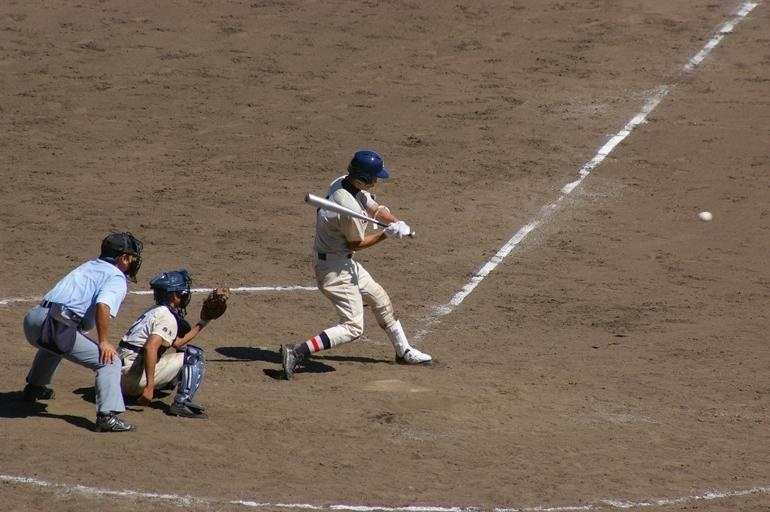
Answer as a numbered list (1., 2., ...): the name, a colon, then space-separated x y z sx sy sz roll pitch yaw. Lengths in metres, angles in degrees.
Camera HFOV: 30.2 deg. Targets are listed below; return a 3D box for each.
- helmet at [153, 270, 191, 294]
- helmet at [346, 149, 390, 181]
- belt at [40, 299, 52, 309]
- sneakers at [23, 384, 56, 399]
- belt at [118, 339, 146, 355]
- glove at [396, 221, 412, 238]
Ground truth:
1. helmet: -3.209 0.393 21.214 0.611 0.211 0.358 -5 8 -20
2. helmet: -0.234 -1.390 22.192 0.604 0.459 0.316 11 18 -1
3. belt: -4.891 0.699 20.515 0.193 0.109 0.065 20 18 34
4. sneakers: -5.134 2.041 21.104 0.546 0.136 0.245 4 -14 -36
5. belt: -3.759 1.359 21.139 0.289 0.081 0.284 10 -4 31
6. glove: 0.300 -0.375 22.247 0.335 0.129 0.224 31 25 -23
